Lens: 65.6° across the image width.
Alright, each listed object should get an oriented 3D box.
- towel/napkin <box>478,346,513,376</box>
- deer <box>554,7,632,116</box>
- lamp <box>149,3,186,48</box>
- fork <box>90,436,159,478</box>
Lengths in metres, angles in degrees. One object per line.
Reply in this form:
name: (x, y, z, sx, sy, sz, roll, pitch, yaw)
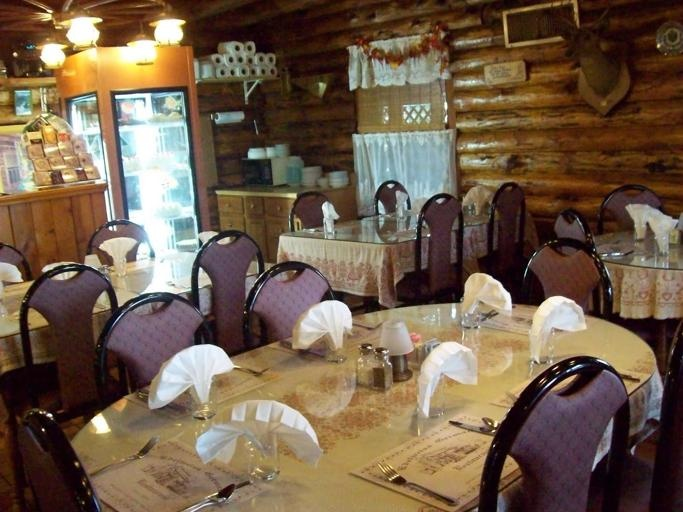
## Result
towel/napkin: (0.592, 0.409, 2.064, 0.094, 0.017, 0.094, -15, 18, -27)
deer: (2.138, -1.652, 4.594, 0.678, 0.870, 0.463, -14, 18, -37)
lamp: (-1.498, -1.989, 4.538, 0.242, 0.287, 0.591, -8, 15, -16)
fork: (-0.654, 0.611, 1.602, 0.204, 0.031, 0.026, -21, 35, -25)
